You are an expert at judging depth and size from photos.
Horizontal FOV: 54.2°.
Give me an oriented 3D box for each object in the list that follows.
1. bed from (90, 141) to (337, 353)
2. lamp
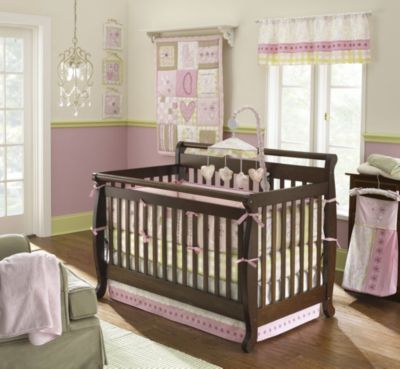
[{"bbox_3d":[0.149,0.537,2.560,1.454,1.142,1.095,6,7,43],"label":"bed"},{"bbox_3d":[-1.306,-1.330,4.138,0.391,1.196,0.223,-3,6,-33],"label":"lamp"}]
